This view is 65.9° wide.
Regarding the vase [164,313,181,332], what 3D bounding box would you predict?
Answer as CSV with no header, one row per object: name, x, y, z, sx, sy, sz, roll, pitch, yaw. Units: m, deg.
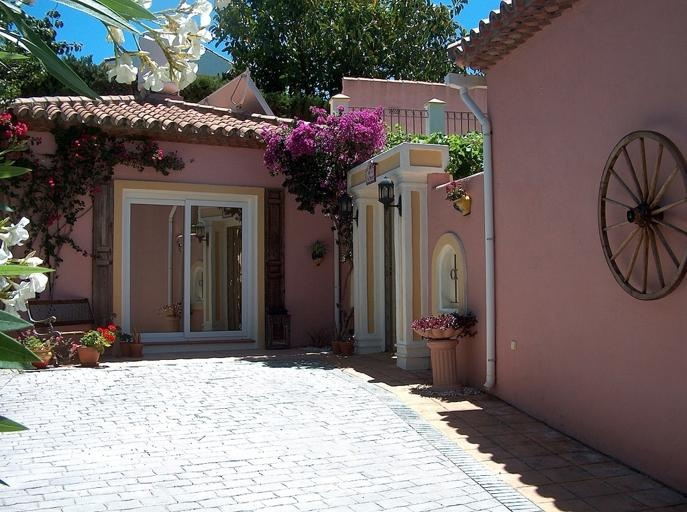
vase,-3.512,1.382,10.991,0.299,0.318,0.298,0,-2,28

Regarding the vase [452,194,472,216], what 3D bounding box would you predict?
vase,1.661,-0.727,7.452,0.174,0.289,0.215,0,0,-18

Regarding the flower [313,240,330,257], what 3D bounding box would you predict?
flower,-0.511,-0.166,11.468,0.346,0.379,0.158,0,1,-17

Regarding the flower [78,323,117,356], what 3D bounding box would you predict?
flower,-4.191,1.394,9.121,0.557,0.437,0.651,1,5,11

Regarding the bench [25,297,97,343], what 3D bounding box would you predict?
bench,-4.769,1.083,8.942,1.185,0.825,0.504,2,-5,-38

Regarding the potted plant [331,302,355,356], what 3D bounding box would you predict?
potted plant,-0.013,1.429,10.582,0.438,0.890,1.159,0,0,-1

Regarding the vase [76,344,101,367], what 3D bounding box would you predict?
vase,-4.287,1.667,8.983,0.348,0.283,0.359,0,-5,-6

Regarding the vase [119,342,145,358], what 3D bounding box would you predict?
vase,-3.965,1.738,9.920,0.320,0.206,0.326,1,0,39

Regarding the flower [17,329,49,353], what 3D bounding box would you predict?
flower,-5.001,1.383,8.655,0.468,0.383,1.027,0,0,-36

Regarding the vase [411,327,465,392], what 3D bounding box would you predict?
vase,1.366,1.378,7.218,0.790,0.880,0.802,-9,-10,33

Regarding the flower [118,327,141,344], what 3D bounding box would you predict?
flower,-4.051,1.481,10.007,0.359,0.275,0.540,0,0,-37

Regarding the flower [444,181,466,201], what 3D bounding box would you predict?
flower,1.593,-0.948,7.659,0.266,0.323,0.312,-8,-14,11
